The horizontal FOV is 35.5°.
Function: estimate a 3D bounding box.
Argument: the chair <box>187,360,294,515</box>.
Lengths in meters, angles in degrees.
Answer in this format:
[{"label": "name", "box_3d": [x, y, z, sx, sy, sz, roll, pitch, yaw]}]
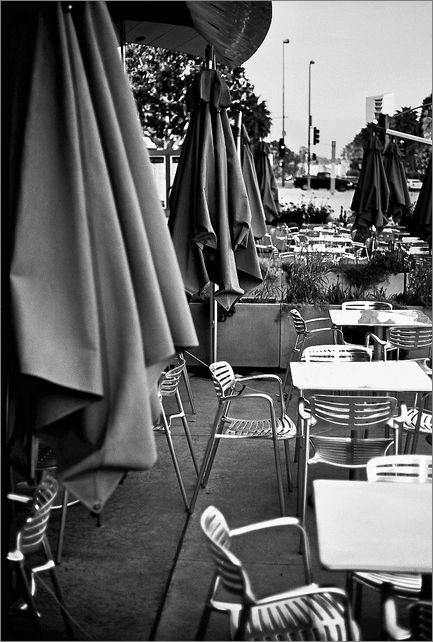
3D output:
[{"label": "chair", "box_3d": [0.249, 0.803, 5.398, 0.770, 1.512, 0.812, -1, 5, 11]}]

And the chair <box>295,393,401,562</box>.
[{"label": "chair", "box_3d": [0.905, 0.832, 4.726, 0.683, 1.553, 0.913, -1, 18, 6]}]

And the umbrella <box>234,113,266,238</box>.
[{"label": "umbrella", "box_3d": [0.330, -1.490, 6.596, 0.147, 0.924, 0.156, -13, 8, 24]}]

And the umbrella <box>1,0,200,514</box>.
[{"label": "umbrella", "box_3d": [-0.274, -0.190, 1.648, 0.443, 1.236, 0.357, -1, 5, -4]}]

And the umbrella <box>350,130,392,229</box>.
[{"label": "umbrella", "box_3d": [2.531, -2.285, 11.068, 0.611, 1.525, 0.662, 1, 6, 17]}]

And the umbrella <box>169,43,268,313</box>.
[{"label": "umbrella", "box_3d": [0.028, -0.904, 4.658, 0.437, 1.568, 0.533, 1, 24, 9]}]

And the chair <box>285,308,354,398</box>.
[{"label": "chair", "box_3d": [1.178, 0.145, 8.215, 0.704, 1.517, 0.910, -3, 19, 5]}]
